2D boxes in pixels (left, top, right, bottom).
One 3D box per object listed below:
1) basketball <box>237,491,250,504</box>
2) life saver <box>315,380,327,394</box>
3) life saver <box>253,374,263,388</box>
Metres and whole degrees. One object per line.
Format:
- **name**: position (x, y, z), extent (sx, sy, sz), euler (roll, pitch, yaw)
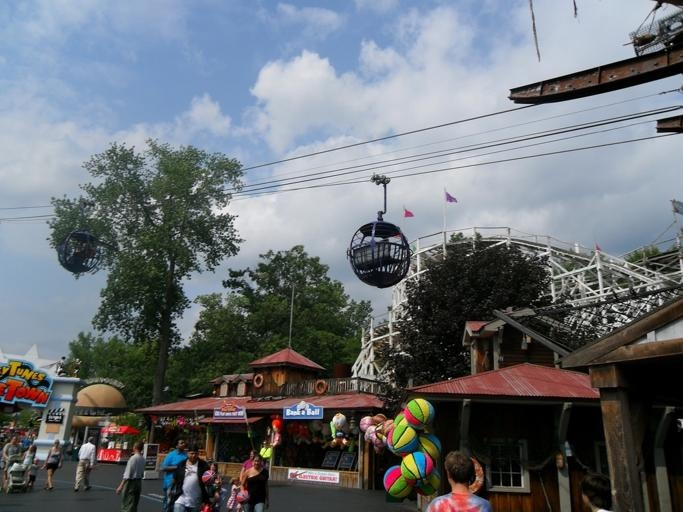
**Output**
- **basketball**: position (-2.269, 5.620, 12.478), extent (0.304, 0.168, 0.282), euler (20, -5, -14)
- **life saver**: position (-1.118, 7.008, 28.420), extent (0.672, 0.670, 0.167), euler (1, -59, 17)
- **life saver**: position (-5.101, 7.739, 33.121), extent (0.780, 0.768, 0.234), euler (-3, -11, 34)
